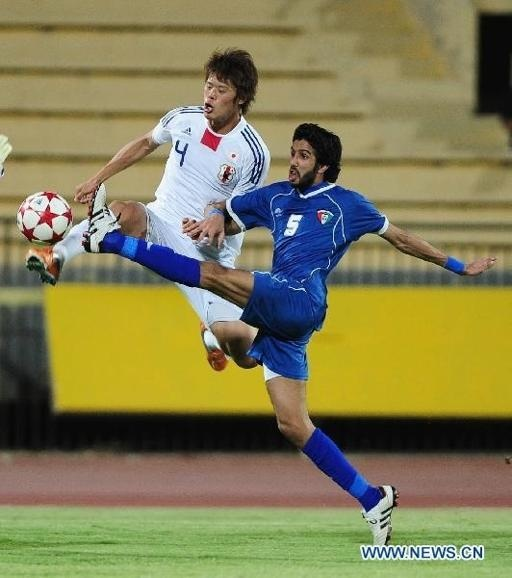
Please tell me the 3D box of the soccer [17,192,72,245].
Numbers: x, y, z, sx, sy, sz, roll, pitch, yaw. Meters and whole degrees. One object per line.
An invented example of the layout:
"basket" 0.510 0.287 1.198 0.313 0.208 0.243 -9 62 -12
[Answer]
"soccer" -1.368 -0.465 8.315 0.374 0.335 0.335 0 -15 -10

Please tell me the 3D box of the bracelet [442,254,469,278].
"bracelet" 1.320 -0.148 8.378 0.203 0.112 0.082 27 29 -7

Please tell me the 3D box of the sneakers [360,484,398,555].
"sneakers" 0.776 1.463 8.102 0.231 0.415 0.157 1 -4 -21

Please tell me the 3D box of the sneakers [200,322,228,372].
"sneakers" -0.283 0.434 9.407 0.193 0.340 0.133 -11 24 43

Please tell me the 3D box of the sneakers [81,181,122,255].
"sneakers" -0.980 -0.440 7.880 0.227 0.456 0.162 13 -1 -43

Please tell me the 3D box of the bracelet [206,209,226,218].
"bracelet" -0.259 -0.500 8.276 0.070 0.044 0.066 1 -6 -6
